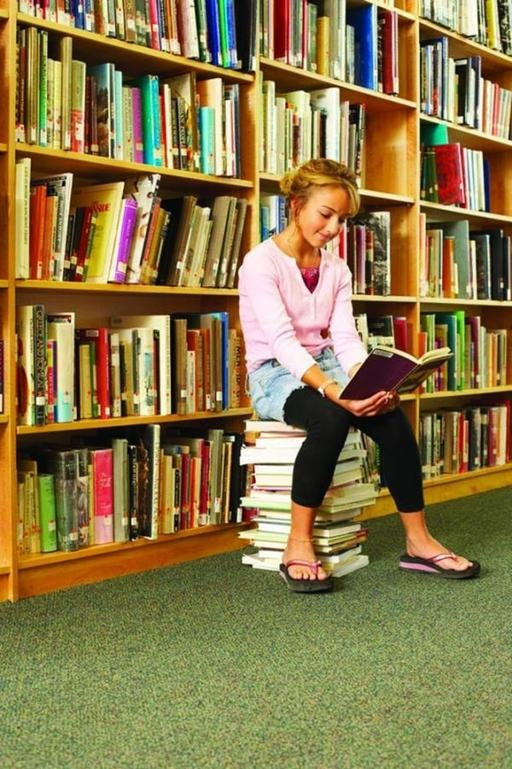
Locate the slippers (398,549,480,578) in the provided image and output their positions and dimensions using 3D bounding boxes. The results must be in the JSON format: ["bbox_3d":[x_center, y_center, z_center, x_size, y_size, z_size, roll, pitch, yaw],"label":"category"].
[{"bbox_3d":[0.484,0.482,1.625,0.196,0.062,0.074,3,7,32],"label":"slippers"}]

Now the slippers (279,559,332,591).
[{"bbox_3d":[0.116,0.475,1.524,0.142,0.074,0.093,-2,-5,16],"label":"slippers"}]

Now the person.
[{"bbox_3d":[0.209,-0.034,1.677,0.454,1.109,0.465,4,-8,-42],"label":"person"}]
